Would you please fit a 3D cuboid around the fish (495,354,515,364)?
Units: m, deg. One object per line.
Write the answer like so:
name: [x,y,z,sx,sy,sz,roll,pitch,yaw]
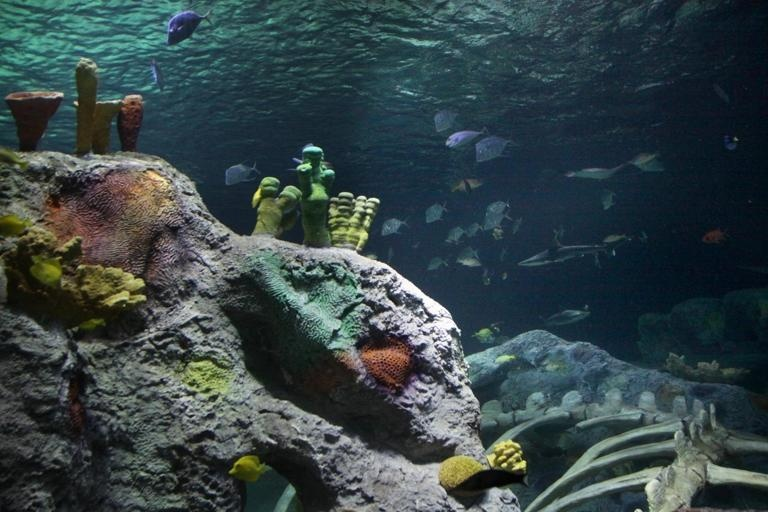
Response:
fish: [3.486,2.915,21.447,0.761,0.166,0.302,-7,20,-38]
